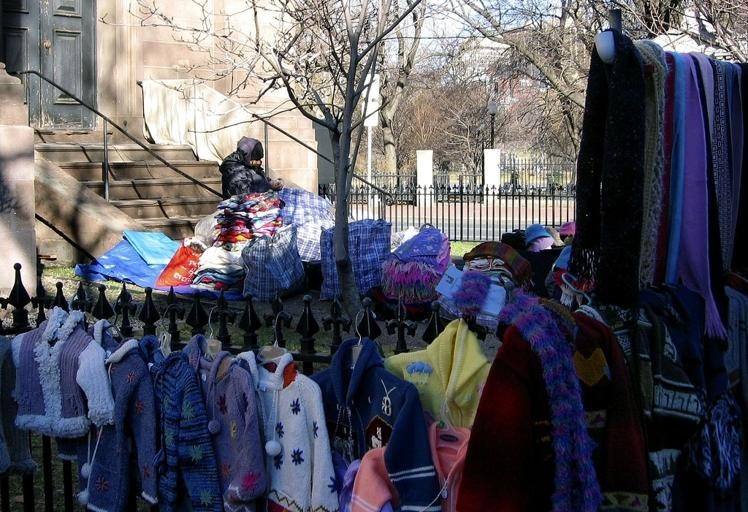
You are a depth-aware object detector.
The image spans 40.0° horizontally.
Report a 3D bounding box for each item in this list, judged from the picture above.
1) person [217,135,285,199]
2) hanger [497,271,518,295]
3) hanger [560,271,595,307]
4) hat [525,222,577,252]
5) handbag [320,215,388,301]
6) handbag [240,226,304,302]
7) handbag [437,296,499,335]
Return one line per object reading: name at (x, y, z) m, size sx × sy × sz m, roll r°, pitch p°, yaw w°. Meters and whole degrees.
person at (-1.695, -1.168, 13.858) m, size 0.705 × 0.878 × 0.937 m, roll 4°, pitch 27°, yaw 6°
hanger at (0.847, 0.164, 6.585) m, size 0.089 × 0.051 × 0.156 m, roll 44°, pitch -12°, yaw 20°
hanger at (1.188, 0.208, 6.058) m, size 0.136 × 0.176 × 0.197 m, roll 1°, pitch 5°, yaw 8°
hat at (1.665, -0.189, 9.640) m, size 0.397 × 0.438 × 0.169 m, roll -6°, pitch 16°, yaw -10°
handbag at (-0.183, 0.042, 10.470) m, size 0.709 × 0.759 × 0.420 m, roll -7°, pitch -10°, yaw 29°
handbag at (-1.127, 0.143, 11.615) m, size 0.524 × 0.882 × 0.794 m, roll 4°, pitch 9°, yaw 43°
handbag at (0.570, 0.356, 6.094) m, size 0.391 × 0.141 × 0.417 m, roll 3°, pitch 4°, yaw 18°
